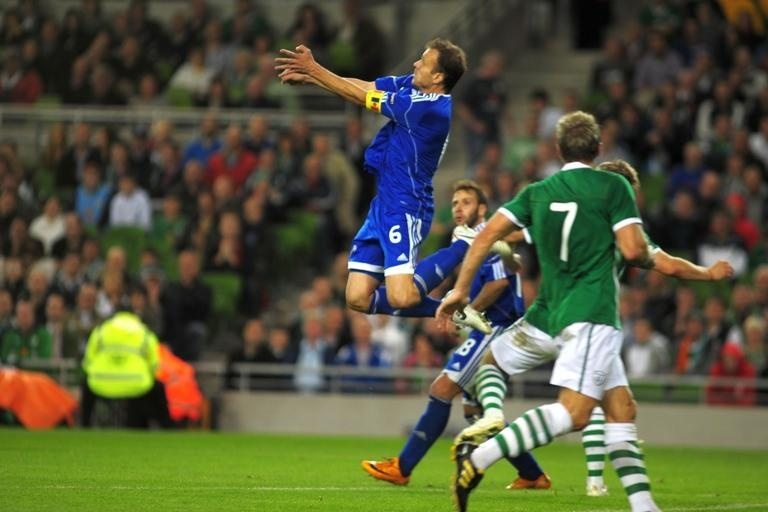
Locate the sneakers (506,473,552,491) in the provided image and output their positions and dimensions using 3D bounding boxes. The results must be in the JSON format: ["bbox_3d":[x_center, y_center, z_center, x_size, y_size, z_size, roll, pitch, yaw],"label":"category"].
[{"bbox_3d":[1.718,2.710,16.474,0.521,0.243,0.200,1,-5,3],"label":"sneakers"}]
